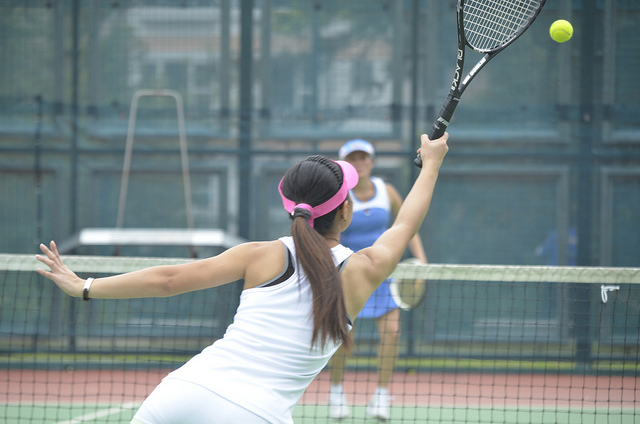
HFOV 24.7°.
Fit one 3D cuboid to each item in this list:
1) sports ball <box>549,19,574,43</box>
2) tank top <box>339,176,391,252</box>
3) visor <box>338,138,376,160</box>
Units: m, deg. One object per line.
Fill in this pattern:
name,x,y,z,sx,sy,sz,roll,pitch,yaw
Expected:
sports ball,2.417,-1.783,14.395,0.229,0.226,0.228,15,-24,7
tank top,0.495,0.014,14.901,0.705,1.049,0.556,1,-5,-2
visor,0.391,-0.650,15.096,0.235,0.162,0.319,1,-7,1
